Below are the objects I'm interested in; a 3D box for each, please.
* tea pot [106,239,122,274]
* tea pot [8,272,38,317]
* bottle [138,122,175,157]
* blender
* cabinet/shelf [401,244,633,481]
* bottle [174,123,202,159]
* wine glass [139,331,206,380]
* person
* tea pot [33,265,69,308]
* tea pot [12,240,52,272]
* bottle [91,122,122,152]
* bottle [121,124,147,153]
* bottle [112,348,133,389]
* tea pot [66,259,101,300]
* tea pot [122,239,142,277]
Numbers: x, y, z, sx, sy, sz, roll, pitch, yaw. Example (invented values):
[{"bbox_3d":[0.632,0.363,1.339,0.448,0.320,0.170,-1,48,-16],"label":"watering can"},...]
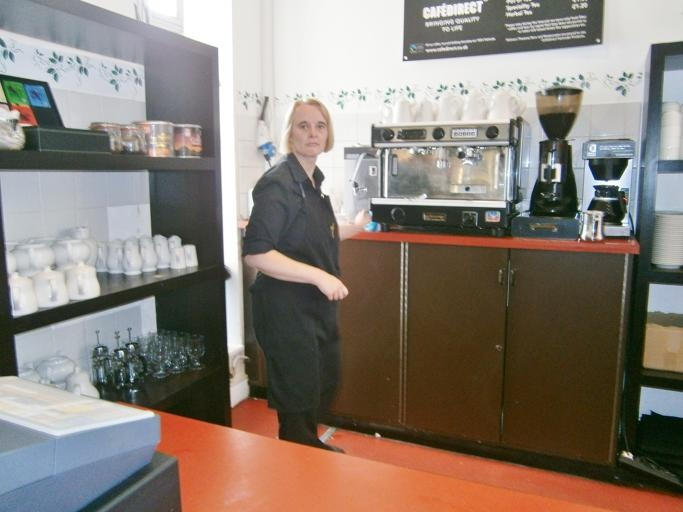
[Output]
[{"bbox_3d":[-0.936,0.003,2.143,0.068,0.134,0.057,-7,15,-25],"label":"tea pot"},{"bbox_3d":[-1.029,0.127,1.670,0.087,0.117,0.131,-2,9,-15],"label":"tea pot"},{"bbox_3d":[-0.715,-0.454,2.065,0.139,0.157,0.141,-1,0,-10],"label":"bottle"},{"bbox_3d":[1.104,-0.536,2.660,0.256,0.643,0.469,6,15,22],"label":"blender"},{"bbox_3d":[0.880,0.437,2.757,1.081,1.038,0.405,3,6,21],"label":"cabinet/shelf"},{"bbox_3d":[-0.629,-0.465,2.150,0.132,0.133,0.132,0,1,-19],"label":"bottle"},{"bbox_3d":[-0.755,0.418,2.277,0.231,0.153,0.187,0,3,-16],"label":"wine glass"},{"bbox_3d":[-0.189,0.193,2.245,0.376,1.688,0.797,0,14,-1],"label":"person"},{"bbox_3d":[-0.984,0.103,1.750,0.091,0.125,0.135,-5,13,-29],"label":"tea pot"},{"bbox_3d":[-1.079,0.002,1.823,0.120,0.086,0.092,1,4,-24],"label":"tea pot"},{"bbox_3d":[-0.844,-0.446,1.896,0.113,0.109,0.114,0,1,-11],"label":"bottle"},{"bbox_3d":[-0.790,-0.439,1.962,0.091,0.103,0.094,2,4,31],"label":"bottle"},{"bbox_3d":[-0.920,0.466,2.165,0.066,0.157,0.054,-3,14,-13],"label":"bottle"},{"bbox_3d":[-0.915,0.079,1.829,0.100,0.119,0.130,-3,15,-20],"label":"tea pot"},{"bbox_3d":[-0.865,0.003,2.147,0.072,0.139,0.073,0,14,0],"label":"tea pot"}]
